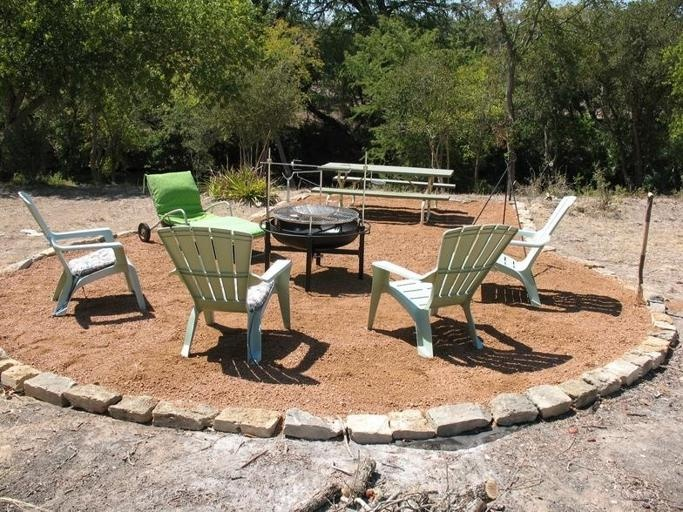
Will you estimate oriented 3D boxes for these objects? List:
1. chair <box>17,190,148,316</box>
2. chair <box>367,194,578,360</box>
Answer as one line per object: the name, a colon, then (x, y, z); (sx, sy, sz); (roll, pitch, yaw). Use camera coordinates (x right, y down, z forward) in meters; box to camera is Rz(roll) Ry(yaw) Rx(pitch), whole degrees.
chair: (-2.679, -0.026, 5.843); (1.210, 1.096, 1.065); (0, 8, -14)
chair: (1.329, 0.135, 5.471); (2.133, 1.123, 0.885); (-16, 18, -40)
